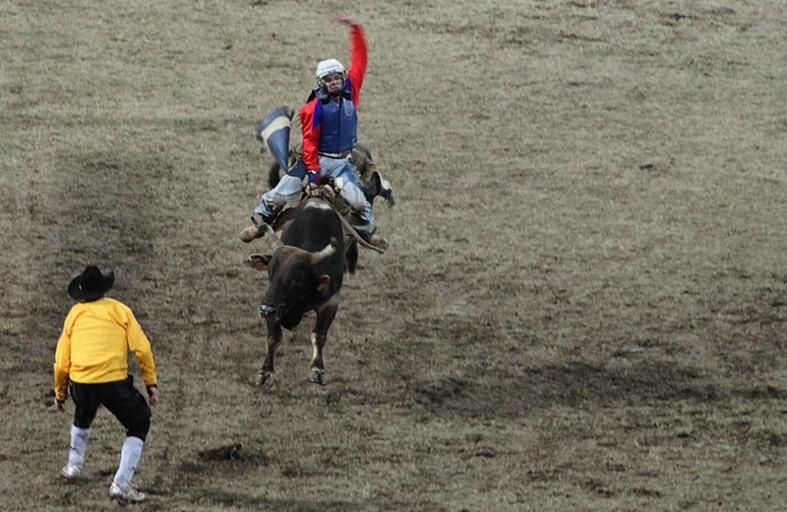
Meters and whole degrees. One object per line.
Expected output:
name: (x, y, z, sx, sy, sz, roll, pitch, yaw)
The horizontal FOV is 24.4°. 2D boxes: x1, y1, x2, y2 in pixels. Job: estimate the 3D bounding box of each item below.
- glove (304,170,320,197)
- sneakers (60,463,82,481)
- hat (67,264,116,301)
glove: (-1.513, -1.345, 33.434, 0.258, 0.440, 0.296, 1, 22, -1)
sneakers: (-5.837, 3.974, 32.996, 0.261, 0.272, 0.346, -2, 16, -27)
hat: (-5.387, 0.342, 32.517, 0.757, 0.324, 0.862, -12, 28, -11)
